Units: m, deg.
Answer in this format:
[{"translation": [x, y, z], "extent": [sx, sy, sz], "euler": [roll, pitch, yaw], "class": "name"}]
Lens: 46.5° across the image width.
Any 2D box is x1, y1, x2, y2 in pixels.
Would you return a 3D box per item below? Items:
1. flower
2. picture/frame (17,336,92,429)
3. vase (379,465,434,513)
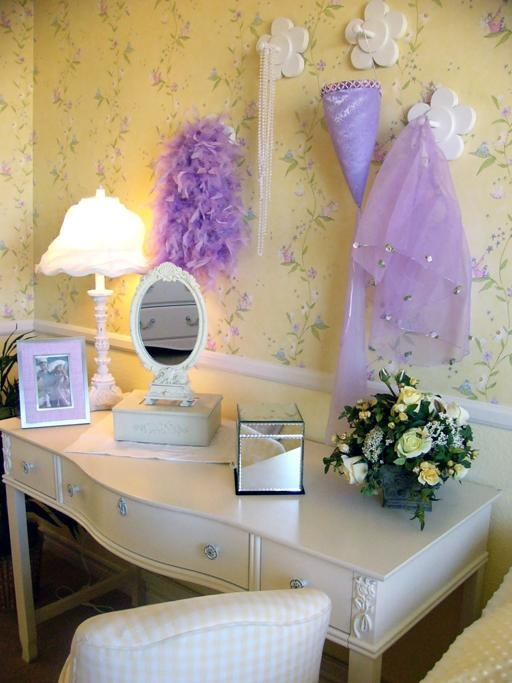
[{"translation": [0.293, 0.205, 1.222], "extent": [0.301, 0.287, 0.243], "euler": [5, 10, 19], "class": "flower"}, {"translation": [-0.598, 0.126, 1.754], "extent": [0.276, 0.324, 0.015], "euler": [-6, -3, -19], "class": "picture/frame"}, {"translation": [0.325, 0.301, 1.221], "extent": [0.118, 0.090, 0.087], "euler": [-6, -16, 29], "class": "vase"}]
